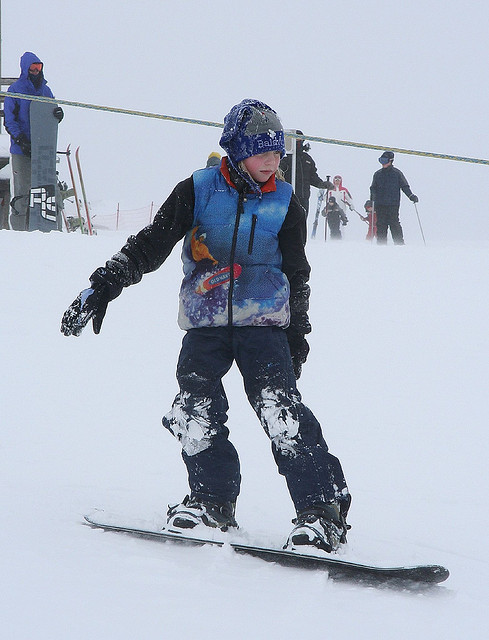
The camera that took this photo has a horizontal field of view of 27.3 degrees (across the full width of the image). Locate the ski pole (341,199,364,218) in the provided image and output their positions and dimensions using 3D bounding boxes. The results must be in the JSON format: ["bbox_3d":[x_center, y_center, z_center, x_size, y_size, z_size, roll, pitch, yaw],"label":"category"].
[{"bbox_3d":[1.356,-1.397,12.651,0.028,0.060,0.429,-32,52,-9],"label":"ski pole"}]

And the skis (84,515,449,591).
[{"bbox_3d":[0.042,0.798,3.432,0.931,0.049,0.117,5,9,20],"label":"skis"}]

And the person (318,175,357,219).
[{"bbox_3d":[1.209,-1.501,13.059,0.417,0.758,0.226,-3,-7,-8],"label":"person"}]

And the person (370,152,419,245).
[{"bbox_3d":[1.595,-1.333,11.181,0.508,1.156,0.289,1,7,24],"label":"person"}]

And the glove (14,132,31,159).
[{"bbox_3d":[-1.972,-1.559,8.955,0.055,0.177,0.119,-16,4,5],"label":"glove"}]

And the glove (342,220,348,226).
[{"bbox_3d":[1.273,-1.238,12.818,0.017,0.080,0.111,-3,13,-21],"label":"glove"}]

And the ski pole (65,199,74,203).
[{"bbox_3d":[-1.943,-1.317,11.096,0.043,0.026,0.026,18,16,-7],"label":"ski pole"}]

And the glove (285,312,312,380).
[{"bbox_3d":[0.214,0.095,3.974,0.067,0.226,0.159,-8,-4,11],"label":"glove"}]

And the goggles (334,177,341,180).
[{"bbox_3d":[1.272,-1.935,13.757,0.111,0.024,0.037,-6,15,-32],"label":"goggles"}]

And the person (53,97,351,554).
[{"bbox_3d":[-0.088,0.010,3.613,0.956,1.565,0.728,1,12,-4],"label":"person"}]

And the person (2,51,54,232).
[{"bbox_3d":[-1.938,-1.556,8.973,0.409,1.597,0.585,-1,12,-13],"label":"person"}]

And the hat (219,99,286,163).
[{"bbox_3d":[0.033,-0.682,3.723,0.227,0.244,0.211,1,7,14],"label":"hat"}]

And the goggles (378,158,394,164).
[{"bbox_3d":[1.540,-1.760,11.134,0.173,0.067,0.102,11,15,34],"label":"goggles"}]

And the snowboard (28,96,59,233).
[{"bbox_3d":[-1.836,-1.375,9.134,0.293,1.191,0.333,-1,12,-13],"label":"snowboard"}]

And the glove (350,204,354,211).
[{"bbox_3d":[1.360,-1.429,12.766,0.047,0.094,0.067,-1,4,-6],"label":"glove"}]

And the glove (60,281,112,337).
[{"bbox_3d":[-0.579,-0.018,3.502,0.056,0.146,0.230,-17,1,26],"label":"glove"}]
